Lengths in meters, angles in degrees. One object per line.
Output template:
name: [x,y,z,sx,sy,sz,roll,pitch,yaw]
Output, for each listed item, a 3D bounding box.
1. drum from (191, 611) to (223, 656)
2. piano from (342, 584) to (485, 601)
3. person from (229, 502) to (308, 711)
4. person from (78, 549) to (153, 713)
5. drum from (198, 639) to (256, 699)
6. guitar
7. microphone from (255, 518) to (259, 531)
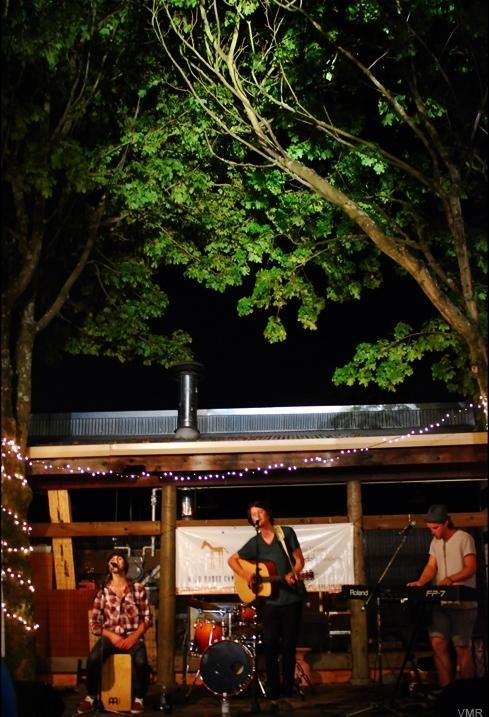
drum: [-0.446,3.104,11.855,0.374,0.400,0.389,9,-20,30]
piano: [1.563,2.251,10.054,1.270,0.197,0.420,-8,-9,44]
person: [0.295,2.224,9.524,0.703,1.734,0.525,-13,-15,25]
person: [-1.316,2.789,10.899,0.628,1.641,0.603,4,-9,-10]
drum: [-0.173,3.203,11.003,0.529,0.611,0.606,2,-9,7]
guitar: [0.121,2.070,9.770,0.728,0.406,0.123,-6,-7,29]
microphone: [0.114,1.530,9.644,0.024,0.103,0.028,3,-8,-11]
